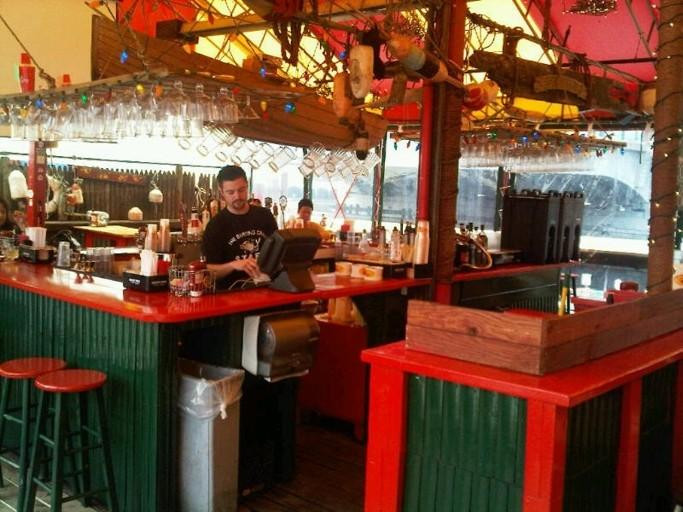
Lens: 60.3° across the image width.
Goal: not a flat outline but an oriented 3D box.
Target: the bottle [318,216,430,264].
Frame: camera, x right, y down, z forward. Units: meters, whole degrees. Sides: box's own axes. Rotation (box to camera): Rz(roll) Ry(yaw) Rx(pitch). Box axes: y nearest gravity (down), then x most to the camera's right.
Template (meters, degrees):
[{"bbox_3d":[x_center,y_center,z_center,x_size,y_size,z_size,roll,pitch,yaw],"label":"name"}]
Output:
[{"bbox_3d":[0.315,-0.116,5.331,0.312,0.407,1.050,-4,5,-45],"label":"bottle"}]

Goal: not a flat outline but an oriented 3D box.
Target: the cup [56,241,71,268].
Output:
[{"bbox_3d":[-2.182,-0.007,4.635,0.104,0.183,0.252,-3,7,-26],"label":"cup"}]

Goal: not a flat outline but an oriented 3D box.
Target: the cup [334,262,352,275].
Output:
[{"bbox_3d":[0.010,0.108,4.832,0.106,0.078,0.105,1,3,0],"label":"cup"}]

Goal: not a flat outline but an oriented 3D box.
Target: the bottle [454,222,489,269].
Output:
[{"bbox_3d":[1.243,-0.081,5.727,0.311,0.446,0.444,-6,12,-41],"label":"bottle"}]

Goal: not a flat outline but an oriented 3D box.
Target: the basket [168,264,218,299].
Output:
[{"bbox_3d":[-0.949,0.168,3.774,0.222,0.141,0.221,4,4,26],"label":"basket"}]

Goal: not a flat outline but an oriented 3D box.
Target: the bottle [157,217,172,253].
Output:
[{"bbox_3d":[-1.387,-0.149,4.593,0.086,0.254,0.201,-1,6,-13],"label":"bottle"}]

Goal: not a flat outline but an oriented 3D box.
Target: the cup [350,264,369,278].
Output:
[{"bbox_3d":[0.139,0.125,4.765,0.105,0.076,0.105,1,3,0],"label":"cup"}]

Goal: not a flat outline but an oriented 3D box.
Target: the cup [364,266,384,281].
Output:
[{"bbox_3d":[0.255,0.145,4.702,0.133,0.088,0.105,2,4,31],"label":"cup"}]

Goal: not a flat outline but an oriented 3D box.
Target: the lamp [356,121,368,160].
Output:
[{"bbox_3d":[0.225,-1.292,6.750,0.135,0.434,0.172,5,-6,-6],"label":"lamp"}]

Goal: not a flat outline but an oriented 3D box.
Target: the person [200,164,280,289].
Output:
[{"bbox_3d":[-0.769,-0.241,4.374,0.565,0.854,0.806,0,6,-5],"label":"person"}]
